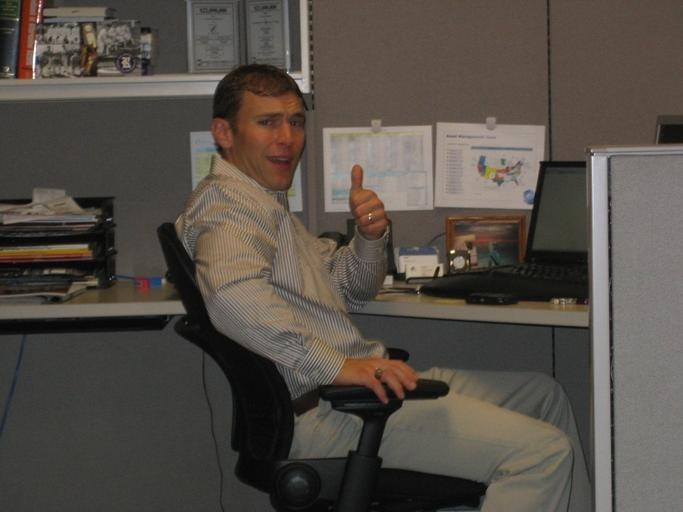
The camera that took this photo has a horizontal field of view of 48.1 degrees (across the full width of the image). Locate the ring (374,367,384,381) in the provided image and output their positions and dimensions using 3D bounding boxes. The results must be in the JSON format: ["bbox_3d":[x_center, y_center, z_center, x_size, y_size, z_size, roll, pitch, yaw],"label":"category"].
[{"bbox_3d":[0.080,0.256,1.670,0.021,0.023,0.017,-3,-5,12],"label":"ring"}]

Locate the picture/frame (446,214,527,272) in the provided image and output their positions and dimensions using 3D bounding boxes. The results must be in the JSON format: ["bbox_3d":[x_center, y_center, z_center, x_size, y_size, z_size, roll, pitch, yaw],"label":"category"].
[{"bbox_3d":[0.471,-0.034,2.500,0.269,0.199,0.022,-1,-5,20],"label":"picture/frame"}]
